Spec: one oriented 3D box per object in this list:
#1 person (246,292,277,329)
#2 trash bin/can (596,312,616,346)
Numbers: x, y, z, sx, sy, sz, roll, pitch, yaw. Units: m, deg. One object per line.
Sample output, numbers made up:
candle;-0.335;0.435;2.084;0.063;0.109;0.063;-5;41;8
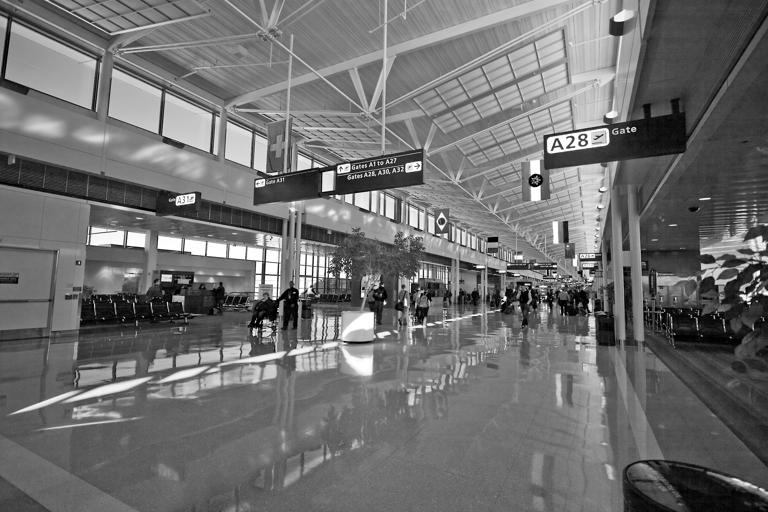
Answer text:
person;-4.557;2.209;19.708;0.986;1.271;1.560;-2;14;-8
trash bin/can;7.531;2.524;17.300;0.619;0.973;0.594;7;-9;-36
